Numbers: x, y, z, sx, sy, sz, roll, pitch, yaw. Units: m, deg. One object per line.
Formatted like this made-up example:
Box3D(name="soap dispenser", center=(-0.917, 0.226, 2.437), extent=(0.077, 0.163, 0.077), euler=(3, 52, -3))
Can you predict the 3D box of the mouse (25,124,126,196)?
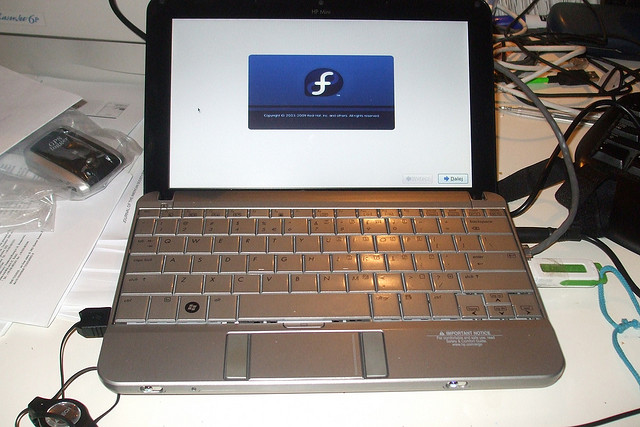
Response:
Box3D(name="mouse", center=(-0.508, -0.118, 0.978), extent=(0.178, 0.040, 0.132), euler=(33, 53, 7))
